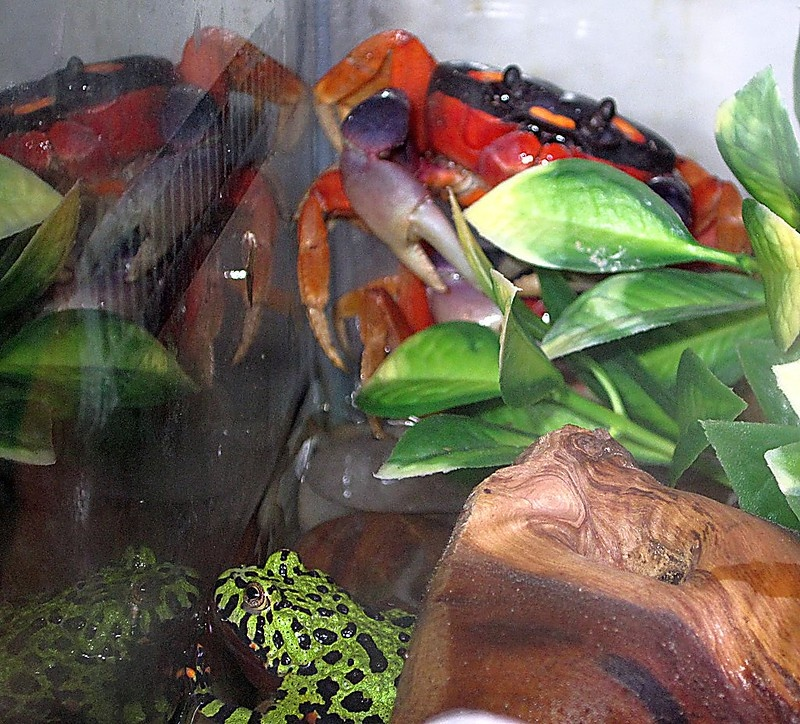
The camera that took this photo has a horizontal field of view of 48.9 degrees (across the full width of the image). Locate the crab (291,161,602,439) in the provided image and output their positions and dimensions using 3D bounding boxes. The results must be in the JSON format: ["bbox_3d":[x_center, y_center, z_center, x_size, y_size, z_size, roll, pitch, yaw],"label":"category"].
[{"bbox_3d":[-0.011,-0.066,0.848,0.185,0.244,0.067,-10,5,23],"label":"crab"}]
